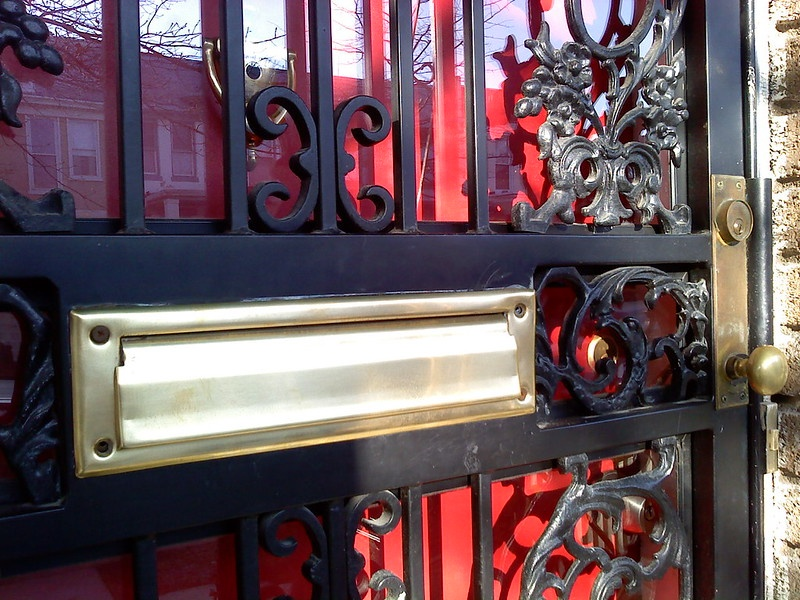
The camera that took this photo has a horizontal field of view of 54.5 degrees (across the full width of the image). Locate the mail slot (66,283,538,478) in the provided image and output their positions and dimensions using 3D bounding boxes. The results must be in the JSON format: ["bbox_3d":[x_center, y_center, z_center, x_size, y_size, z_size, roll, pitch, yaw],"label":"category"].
[{"bbox_3d":[-0.087,0.075,0.887,0.549,0.144,0.040,-7,-2,-20],"label":"mail slot"}]
